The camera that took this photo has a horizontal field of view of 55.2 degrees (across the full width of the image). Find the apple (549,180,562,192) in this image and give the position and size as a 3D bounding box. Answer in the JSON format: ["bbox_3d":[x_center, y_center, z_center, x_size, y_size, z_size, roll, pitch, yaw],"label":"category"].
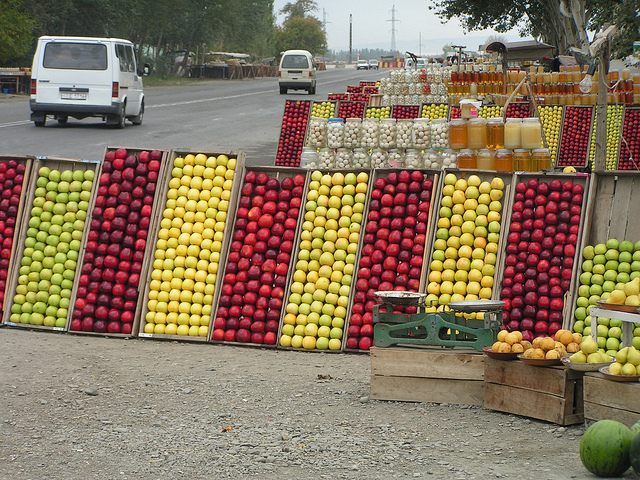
[{"bbox_3d":[2.954,-0.651,7.644,0.169,0.145,0.107,1,5,0],"label":"apple"}]

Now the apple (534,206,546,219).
[{"bbox_3d":[2.723,-0.318,7.563,0.131,0.154,0.063,2,5,13],"label":"apple"}]

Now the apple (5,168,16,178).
[{"bbox_3d":[-4.482,-0.941,8.850,0.158,0.135,0.053,1,5,2],"label":"apple"}]

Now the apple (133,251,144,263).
[{"bbox_3d":[-2.493,0.249,8.418,0.144,0.152,0.067,0,6,-13],"label":"apple"}]

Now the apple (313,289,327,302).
[{"bbox_3d":[0.004,0.730,8.112,0.160,0.144,0.153,2,29,13],"label":"apple"}]

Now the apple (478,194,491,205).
[{"bbox_3d":[2.087,-0.495,7.749,0.127,0.125,0.125,27,-7,21],"label":"apple"}]

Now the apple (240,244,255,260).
[{"bbox_3d":[-0.946,0.179,8.331,0.175,0.212,0.172,10,-25,2],"label":"apple"}]

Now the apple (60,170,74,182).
[{"bbox_3d":[-3.614,-0.888,8.757,0.162,0.149,0.082,21,-11,-9],"label":"apple"}]

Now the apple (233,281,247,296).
[{"bbox_3d":[-1.062,0.662,8.267,0.186,0.164,0.172,-19,17,5],"label":"apple"}]

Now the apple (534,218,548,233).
[{"bbox_3d":[2.717,-0.156,7.500,0.139,0.155,0.134,-5,10,18],"label":"apple"}]

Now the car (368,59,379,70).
[{"bbox_3d":[8.883,-28.618,101.382,1.476,1.250,2.473,0,18,1],"label":"car"}]

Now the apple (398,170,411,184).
[{"bbox_3d":[1.124,-0.801,8.087,0.144,0.134,0.151,-1,8,-5],"label":"apple"}]

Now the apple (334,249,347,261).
[{"bbox_3d":[0.274,0.220,8.139,0.146,0.137,0.139,-2,-15,12],"label":"apple"}]

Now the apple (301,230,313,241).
[{"bbox_3d":[-0.173,-0.041,8.227,0.139,0.159,0.136,7,4,-6],"label":"apple"}]

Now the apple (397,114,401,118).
[{"bbox_3d":[2.355,-3.622,18.317,0.098,0.114,0.100,7,0,44],"label":"apple"}]

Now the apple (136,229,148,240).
[{"bbox_3d":[-2.441,-0.055,8.451,0.141,0.131,0.128,-4,-8,14],"label":"apple"}]

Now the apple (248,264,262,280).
[{"bbox_3d":[-0.866,0.456,8.199,0.176,0.203,0.172,3,0,-2],"label":"apple"}]

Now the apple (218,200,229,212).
[{"bbox_3d":[-1.322,-0.447,8.504,0.138,0.136,0.142,-11,45,8],"label":"apple"}]

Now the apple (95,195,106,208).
[{"bbox_3d":[-3.048,-0.512,8.510,0.158,0.182,0.151,2,2,-13],"label":"apple"}]

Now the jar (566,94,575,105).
[{"bbox_3d":[8.531,-4.660,20.836,0.330,0.352,0.320,0,3,0],"label":"jar"}]

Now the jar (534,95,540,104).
[{"bbox_3d":[7.416,-4.705,20.900,0.172,0.366,0.640,3,6,19],"label":"jar"}]

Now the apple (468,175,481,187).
[{"bbox_3d":[1.980,-0.733,7.861,0.141,0.150,0.058,2,5,8],"label":"apple"}]

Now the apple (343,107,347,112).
[{"bbox_3d":[0.783,-3.915,18.780,0.143,0.100,0.174,6,1,32],"label":"apple"}]

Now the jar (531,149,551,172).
[{"bbox_3d":[3.148,-1.105,8.718,0.314,0.412,0.298,-1,4,0],"label":"jar"}]

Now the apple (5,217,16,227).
[{"bbox_3d":[-4.422,-0.233,8.755,0.135,0.119,0.126,0,4,-1],"label":"apple"}]

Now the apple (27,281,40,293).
[{"bbox_3d":[-4.001,0.664,8.563,0.141,0.134,0.136,3,-12,-10],"label":"apple"}]

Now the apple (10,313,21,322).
[{"bbox_3d":[-4.244,1.097,8.540,0.120,0.109,0.108,-16,24,-30],"label":"apple"}]

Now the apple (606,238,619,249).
[{"bbox_3d":[3.407,0.057,7.130,0.111,0.108,0.110,5,29,8],"label":"apple"}]

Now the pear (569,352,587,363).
[{"bbox_3d":[2.294,1.041,5.418,0.106,0.062,0.079,0,6,16],"label":"pear"}]

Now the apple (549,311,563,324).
[{"bbox_3d":[2.808,0.928,7.273,0.129,0.118,0.120,0,4,3],"label":"apple"}]

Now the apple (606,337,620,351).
[{"bbox_3d":[3.142,1.127,6.570,0.124,0.138,0.120,3,-8,-29],"label":"apple"}]

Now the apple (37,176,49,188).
[{"bbox_3d":[-3.963,-0.805,8.777,0.146,0.138,0.136,1,45,-15],"label":"apple"}]

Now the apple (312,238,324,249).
[{"bbox_3d":[-0.029,0.060,8.156,0.128,0.126,0.149,14,35,18],"label":"apple"}]

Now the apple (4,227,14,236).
[{"bbox_3d":[-4.449,-0.097,8.748,0.115,0.105,0.112,3,1,-13],"label":"apple"}]

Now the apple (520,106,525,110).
[{"bbox_3d":[6.282,-3.996,18.936,0.103,0.084,0.085,25,15,-3],"label":"apple"}]

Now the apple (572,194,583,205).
[{"bbox_3d":[3.166,-0.475,7.506,0.118,0.122,0.046,2,5,6],"label":"apple"}]

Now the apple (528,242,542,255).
[{"bbox_3d":[2.619,0.119,7.504,0.143,0.140,0.165,6,-39,6],"label":"apple"}]

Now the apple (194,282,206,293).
[{"bbox_3d":[-1.624,0.651,8.269,0.133,0.128,0.151,-17,-8,-5],"label":"apple"}]

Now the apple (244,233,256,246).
[{"bbox_3d":[-0.939,0.007,8.285,0.140,0.130,0.136,0,-6,4],"label":"apple"}]

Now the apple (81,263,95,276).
[{"bbox_3d":[-3.205,0.414,8.436,0.175,0.144,0.100,-20,-25,8],"label":"apple"}]

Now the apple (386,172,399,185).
[{"bbox_3d":[0.942,-0.777,8.111,0.141,0.180,0.140,-1,5,-5],"label":"apple"}]

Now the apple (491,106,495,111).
[{"bbox_3d":[5.481,-4.069,19.372,0.122,0.112,0.119,5,13,-19],"label":"apple"}]

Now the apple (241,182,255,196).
[{"bbox_3d":[-1.005,-0.679,8.487,0.136,0.180,0.097,2,-31,12],"label":"apple"}]

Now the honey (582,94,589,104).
[{"bbox_3d":[8.953,-4.638,20.553,0.229,0.315,0.243,2,6,9],"label":"honey"}]

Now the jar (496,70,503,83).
[{"bbox_3d":[6.058,-5.399,20.693,0.200,0.355,0.097,6,7,42],"label":"jar"}]

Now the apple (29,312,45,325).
[{"bbox_3d":[-3.920,1.104,8.478,0.163,0.145,0.157,7,16,-7],"label":"apple"}]

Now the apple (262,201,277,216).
[{"bbox_3d":[-0.680,-0.402,8.367,0.169,0.185,0.204,15,-25,-1],"label":"apple"}]

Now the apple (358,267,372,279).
[{"bbox_3d":[0.586,0.447,7.929,0.142,0.125,0.137,0,0,-2],"label":"apple"}]

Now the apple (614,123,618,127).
[{"bbox_3d":[9.182,-3.485,18.978,0.095,0.122,0.107,3,6,16],"label":"apple"}]

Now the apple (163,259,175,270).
[{"bbox_3d":[-2.050,0.347,8.415,0.138,0.155,0.141,13,15,26],"label":"apple"}]

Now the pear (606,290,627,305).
[{"bbox_3d":[2.699,0.528,5.569,0.149,0.113,0.111,2,1,15],"label":"pear"}]

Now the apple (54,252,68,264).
[{"bbox_3d":[-3.616,0.261,8.596,0.173,0.148,0.142,-6,7,-6],"label":"apple"}]

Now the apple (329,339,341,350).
[{"bbox_3d":[0.195,1.348,7.894,0.137,0.130,0.125,1,-10,-2],"label":"apple"}]

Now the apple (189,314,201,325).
[{"bbox_3d":[-1.661,1.071,8.264,0.128,0.151,0.130,3,-31,27],"label":"apple"}]

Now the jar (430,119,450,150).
[{"bbox_3d":[2.004,-1.731,10.242,0.300,0.520,0.552,2,6,8],"label":"jar"}]

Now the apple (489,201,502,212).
[{"bbox_3d":[2.224,-0.400,7.729,0.156,0.133,0.103,2,6,10],"label":"apple"}]

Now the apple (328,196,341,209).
[{"bbox_3d":[0.200,-0.484,8.262,0.158,0.153,0.090,-15,-4,9],"label":"apple"}]

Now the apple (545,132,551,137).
[{"bbox_3d":[7.158,-3.226,19.203,0.193,0.137,0.074,-2,6,-30],"label":"apple"}]

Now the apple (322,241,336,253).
[{"bbox_3d":[0.121,0.104,8.190,0.153,0.138,0.152,-2,-3,24],"label":"apple"}]
